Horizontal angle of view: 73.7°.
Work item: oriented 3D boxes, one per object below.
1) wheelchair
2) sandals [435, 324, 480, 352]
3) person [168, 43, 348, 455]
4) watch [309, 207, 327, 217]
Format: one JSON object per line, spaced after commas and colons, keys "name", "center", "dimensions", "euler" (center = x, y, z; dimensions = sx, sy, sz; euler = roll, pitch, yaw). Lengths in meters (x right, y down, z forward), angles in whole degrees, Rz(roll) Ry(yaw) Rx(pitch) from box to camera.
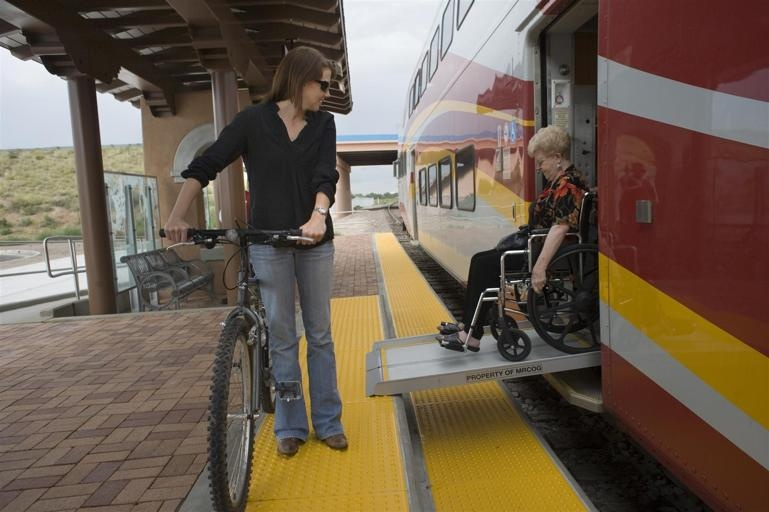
{"name": "wheelchair", "center": [1.347, 0.153, 4.482], "dimensions": [1.620, 1.292, 1.541], "euler": [-5, 5, -27]}
{"name": "sandals", "center": [0.616, 0.695, 4.358], "dimensions": [0.235, 0.094, 0.268], "euler": [-1, 17, -16]}
{"name": "person", "center": [-0.868, -0.049, 3.501], "dimensions": [1.193, 2.839, 1.172], "euler": [0, 3, -19]}
{"name": "watch", "center": [-0.440, -0.293, 3.428], "dimensions": [0.087, 0.059, 0.090], "euler": [4, -3, 44]}
